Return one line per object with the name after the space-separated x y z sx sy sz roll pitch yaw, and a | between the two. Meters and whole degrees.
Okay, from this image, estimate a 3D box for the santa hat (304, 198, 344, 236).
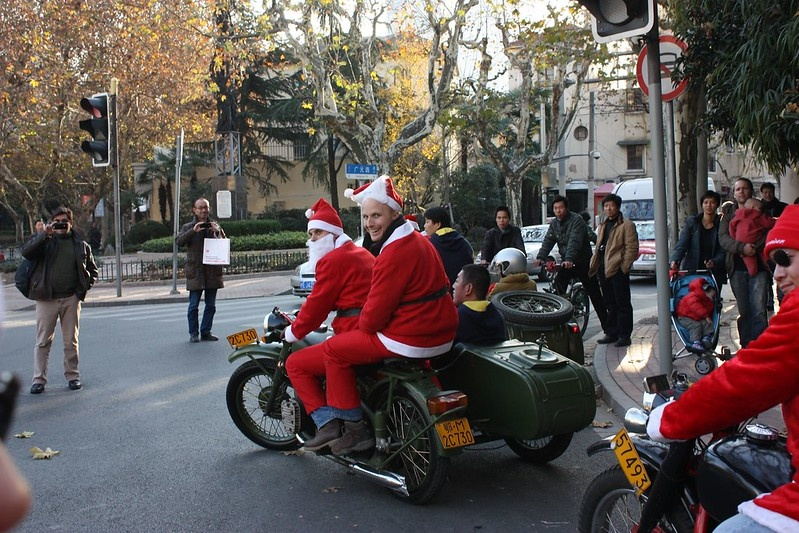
-0.738 -0.484 7.039 0.387 0.367 0.287 3 -7 -38 | santa hat

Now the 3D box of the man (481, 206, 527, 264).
1.652 -0.540 11.310 0.725 1.215 0.796 -2 1 18 | man

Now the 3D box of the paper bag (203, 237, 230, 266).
-3.184 -0.263 12.163 0.419 0.547 0.177 1 -4 -5 | paper bag

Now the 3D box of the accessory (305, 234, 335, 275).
-0.809 -0.165 6.946 0.301 0.313 0.270 0 1 9 | accessory

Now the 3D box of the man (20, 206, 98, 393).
-4.572 0.415 9.433 0.957 2.386 0.713 -5 8 -31 | man

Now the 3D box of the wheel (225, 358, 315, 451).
-1.279 1.397 7.067 0.850 0.969 0.180 5 5 28 | wheel

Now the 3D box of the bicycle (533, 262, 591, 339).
2.721 0.526 12.194 0.880 0.981 1.474 -8 -7 38 | bicycle

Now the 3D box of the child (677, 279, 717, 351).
3.983 0.655 9.440 0.491 0.937 0.284 0 6 23 | child

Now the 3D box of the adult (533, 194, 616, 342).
2.895 -0.023 11.672 1.125 2.345 1.056 -1 7 15 | adult

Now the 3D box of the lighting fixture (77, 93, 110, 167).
-6.695 -3.064 15.487 0.621 1.655 2.177 -3 7 -23 | lighting fixture

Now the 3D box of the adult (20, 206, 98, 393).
-4.568 0.416 9.422 0.954 2.386 0.691 -5 8 -31 | adult

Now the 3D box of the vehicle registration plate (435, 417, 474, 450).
0.481 1.397 5.882 0.303 0.232 0.082 -13 -9 -30 | vehicle registration plate

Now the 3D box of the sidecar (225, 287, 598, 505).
0.194 1.190 6.819 2.887 1.671 1.787 4 5 36 | sidecar

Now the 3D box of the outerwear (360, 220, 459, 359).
0.078 0.204 6.178 0.870 1.191 0.291 -1 7 -4 | outerwear

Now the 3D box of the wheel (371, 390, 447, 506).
0.096 1.586 6.131 0.278 1.049 0.883 -2 0 -39 | wheel
